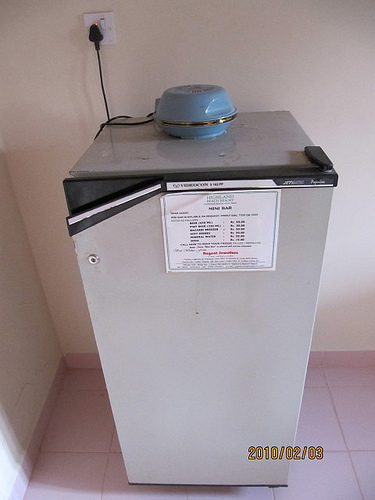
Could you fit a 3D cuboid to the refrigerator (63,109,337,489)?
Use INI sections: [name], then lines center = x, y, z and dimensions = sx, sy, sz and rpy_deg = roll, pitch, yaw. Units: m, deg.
[refrigerator]
center = 0.041, 0.227, 1.244
dimensions = 0.544, 1.097, 0.324
rpy_deg = 0, 33, 3
